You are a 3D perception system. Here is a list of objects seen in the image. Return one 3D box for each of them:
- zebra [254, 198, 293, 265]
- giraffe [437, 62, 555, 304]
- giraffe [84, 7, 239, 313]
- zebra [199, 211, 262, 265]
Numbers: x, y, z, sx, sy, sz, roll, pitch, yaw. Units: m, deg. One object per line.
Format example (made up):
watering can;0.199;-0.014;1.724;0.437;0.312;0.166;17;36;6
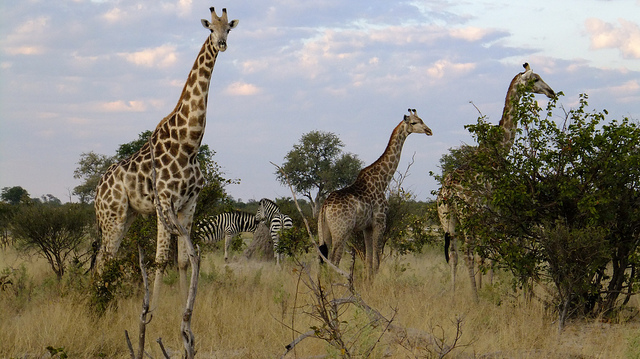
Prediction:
zebra;-1.765;1.661;30.107;0.676;1.810;2.484;8;2;30
giraffe;4.376;0.208;22.195;2.559;6.420;3.941;6;-14;-17
giraffe;-4.108;-0.431;20.488;2.456;7.461;3.156;8;-15;-26
zebra;-3.636;1.944;30.618;2.780;2.440;1.753;-2;-2;23
